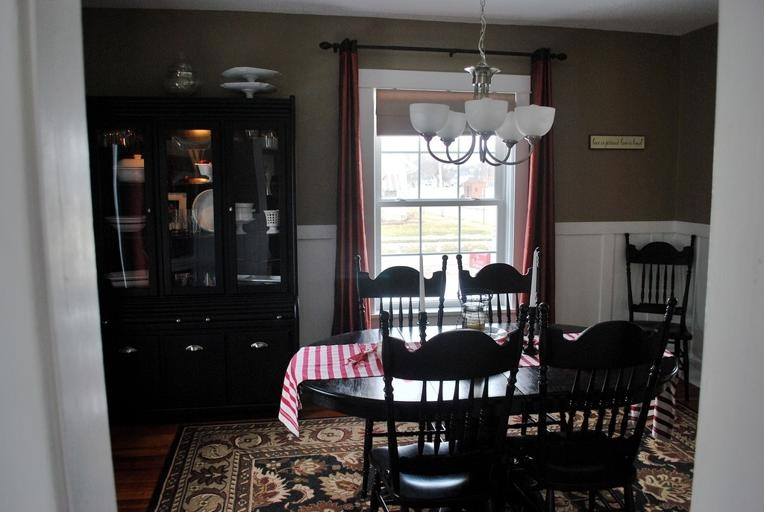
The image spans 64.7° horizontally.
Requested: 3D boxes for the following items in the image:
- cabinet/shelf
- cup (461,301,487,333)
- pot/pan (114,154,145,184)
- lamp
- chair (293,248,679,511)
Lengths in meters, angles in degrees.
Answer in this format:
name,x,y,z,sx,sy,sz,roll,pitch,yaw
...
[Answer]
name,x,y,z,sx,sy,sz,roll,pitch,yaw
cabinet/shelf,-1.159,0.032,3.874,1.269,2.045,0.383,-3,15,-7
cup,0.453,0.312,3.121,0.145,0.200,0.138,0,-3,0
pot/pan,-1.575,-0.544,3.781,0.169,0.128,0.178,-4,9,-27
lamp,0.586,-1.031,3.685,0.771,1.131,1.980,2,14,11
chair,0.658,0.741,2.692,1.630,1.166,0.617,-6,15,-19
